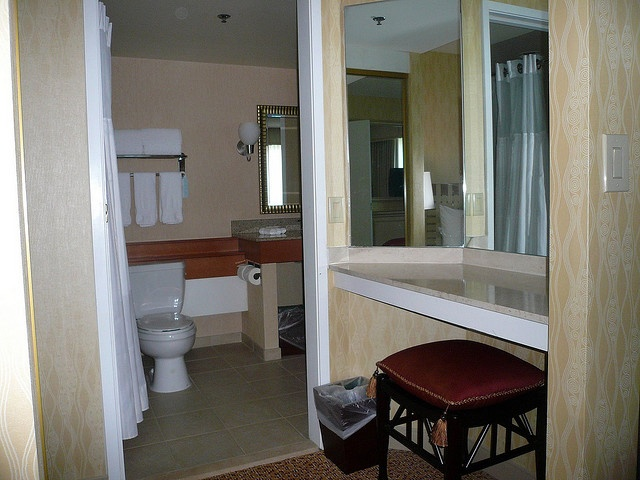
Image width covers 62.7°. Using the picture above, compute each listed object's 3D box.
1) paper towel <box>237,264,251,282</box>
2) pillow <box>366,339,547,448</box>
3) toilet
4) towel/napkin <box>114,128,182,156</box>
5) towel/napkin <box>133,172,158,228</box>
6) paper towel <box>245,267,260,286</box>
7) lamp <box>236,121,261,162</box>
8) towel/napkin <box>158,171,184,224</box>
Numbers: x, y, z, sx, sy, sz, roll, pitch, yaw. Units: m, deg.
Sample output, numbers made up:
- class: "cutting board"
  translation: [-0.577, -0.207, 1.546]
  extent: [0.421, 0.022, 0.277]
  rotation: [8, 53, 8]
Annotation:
- class: "paper towel"
  translation: [-0.585, 0.241, 4.037]
  extent: [0.110, 0.129, 0.111]
  rotation: [-7, 10, -35]
- class: "pillow"
  translation: [0.591, 0.515, 2.062]
  extent: [0.405, 0.207, 0.422]
  rotation: [-1, 5, -24]
- class: "toilet"
  translation: [-1.093, 0.580, 3.705]
  extent: [0.424, 0.848, 0.690]
  rotation: [-5, 5, -25]
- class: "towel/napkin"
  translation: [-1.301, -0.759, 4.036]
  extent: [0.468, 0.206, 0.121]
  rotation: [-6, 8, -27]
- class: "towel/napkin"
  translation: [-1.328, -0.320, 4.060]
  extent: [0.161, 0.407, 0.089]
  rotation: [-5, 7, -25]
- class: "paper towel"
  translation: [-0.502, 0.269, 3.976]
  extent: [0.106, 0.110, 0.126]
  rotation: [-11, 4, -13]
- class: "lamp"
  translation: [-0.597, -0.835, 4.424]
  extent: [0.195, 0.313, 0.173]
  rotation: [-3, 7, -12]
- class: "towel/napkin"
  translation: [-1.144, -0.334, 4.096]
  extent: [0.182, 0.388, 0.051]
  rotation: [-4, 7, -20]
